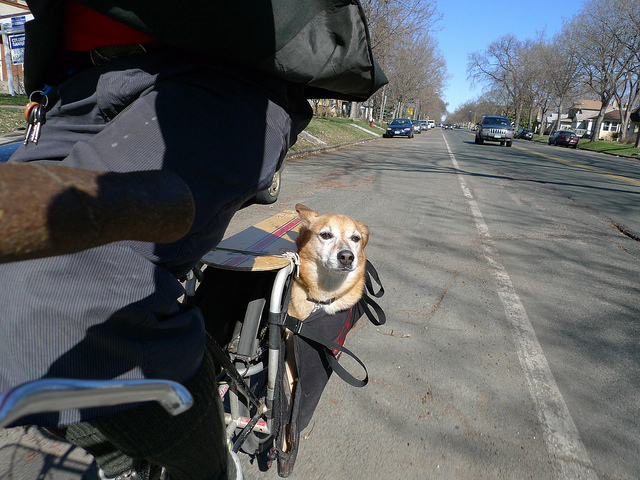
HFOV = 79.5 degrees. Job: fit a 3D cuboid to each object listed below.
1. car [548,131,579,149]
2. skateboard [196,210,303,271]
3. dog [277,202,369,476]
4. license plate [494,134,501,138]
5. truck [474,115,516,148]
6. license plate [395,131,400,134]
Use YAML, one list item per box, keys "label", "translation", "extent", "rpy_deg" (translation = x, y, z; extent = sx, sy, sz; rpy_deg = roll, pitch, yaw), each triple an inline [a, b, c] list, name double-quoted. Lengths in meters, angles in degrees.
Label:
- label: "car"
  translation: [26.723, -10.866, 42.013]
  extent: [1.920, 1.675, 4.829]
  rpy_deg: [2, 19, 11]
- label: "skateboard"
  translation: [-0.285, -0.032, 2.586]
  extent: [0.406, 0.118, 1.518]
  rpy_deg: [11, 13, 10]
- label: "dog"
  translation: [0.031, 0.406, 2.488]
  extent: [0.401, 0.452, 1.710]
  rpy_deg: [10, 36, 2]
- label: "license plate"
  translation: [12.210, -7.155, 26.388]
  extent: [0.283, 0.206, 0.069]
  rpy_deg: [4, 11, 16]
- label: "truck"
  translation: [12.590, -8.051, 28.080]
  extent: [1.836, 1.816, 4.049]
  rpy_deg: [3, 9, 14]
- label: "license plate"
  translation: [6.743, -9.343, 33.307]
  extent: [0.417, 0.256, 0.202]
  rpy_deg: [8, 18, 1]
